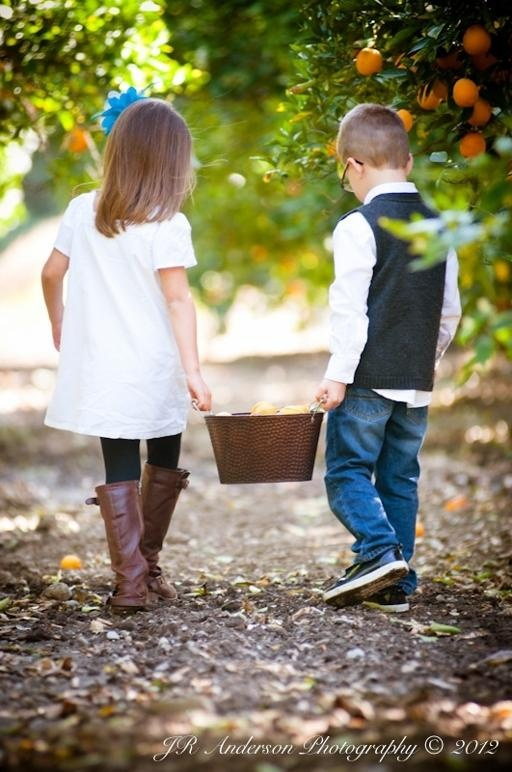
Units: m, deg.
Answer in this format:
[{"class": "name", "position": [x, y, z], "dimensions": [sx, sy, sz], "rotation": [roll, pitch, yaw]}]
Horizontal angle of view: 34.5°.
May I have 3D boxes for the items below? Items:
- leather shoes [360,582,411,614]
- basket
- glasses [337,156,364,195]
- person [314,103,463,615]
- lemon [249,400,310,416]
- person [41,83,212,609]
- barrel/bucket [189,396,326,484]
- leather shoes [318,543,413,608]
[{"class": "leather shoes", "position": [0.426, 0.673, 2.619], "dimensions": [0.071, 0.059, 0.170], "rotation": [2, -1, -39]}, {"class": "basket", "position": [-0.001, 0.173, 2.654], "dimensions": [0.372, 0.224, 0.384], "rotation": [-3, 4, -5]}, {"class": "glasses", "position": [0.307, -0.709, 2.771], "dimensions": [0.034, 0.097, 0.120], "rotation": [-8, -3, 39]}, {"class": "person", "position": [0.379, -0.071, 2.742], "dimensions": [0.507, 1.577, 0.610], "rotation": [7, 11, 39]}, {"class": "lemon", "position": [0.079, 0.078, 2.627], "dimensions": [0.114, 0.031, 0.094], "rotation": [-3, -6, 23]}, {"class": "person", "position": [-0.419, -0.122, 2.617], "dimensions": [0.516, 1.687, 0.399], "rotation": [-1, 3, -6]}, {"class": "barrel/bucket", "position": [-0.049, 0.170, 2.732], "dimensions": [0.531, 0.238, 0.310], "rotation": [-1, 9, -27]}, {"class": "leather shoes", "position": [0.339, 0.585, 2.566], "dimensions": [0.123, 0.117, 0.330], "rotation": [34, -50, -28]}]
